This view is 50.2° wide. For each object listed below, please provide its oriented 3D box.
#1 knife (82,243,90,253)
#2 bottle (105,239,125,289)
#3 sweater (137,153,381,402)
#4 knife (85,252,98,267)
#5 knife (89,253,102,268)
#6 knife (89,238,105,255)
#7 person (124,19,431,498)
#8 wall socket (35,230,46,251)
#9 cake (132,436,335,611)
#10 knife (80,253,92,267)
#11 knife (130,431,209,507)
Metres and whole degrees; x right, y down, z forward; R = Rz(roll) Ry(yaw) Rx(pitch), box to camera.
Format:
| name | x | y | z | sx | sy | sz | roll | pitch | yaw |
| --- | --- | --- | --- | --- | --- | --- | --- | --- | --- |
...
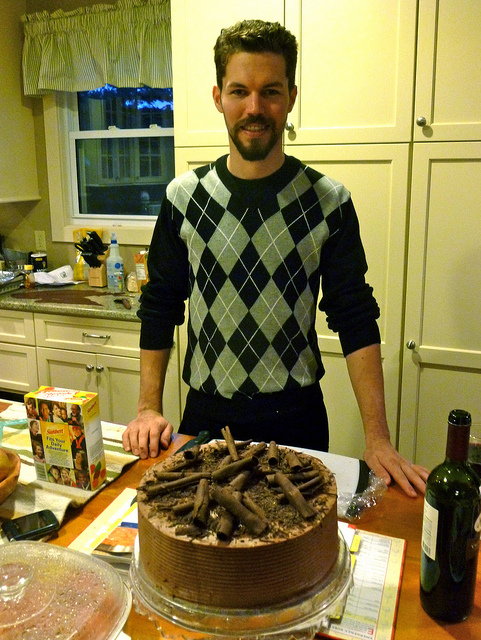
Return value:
| name | x | y | z | sx | sy | sz | roll | pitch | yaw |
| --- | --- | --- | --- | --- | --- | --- | --- | --- | --- |
| knife | -0.944 | -0.446 | 3.146 | 0.039 | 0.054 | 0.024 | -2 | 10 | -2 |
| bottle | -0.782 | -0.357 | 3.200 | 0.113 | 0.292 | 0.264 | -4 | 10 | -12 |
| sweater | 0.059 | -0.113 | 1.423 | 0.686 | 0.635 | 0.264 | 4 | 16 | 11 |
| knife | -0.912 | -0.381 | 3.178 | 0.019 | 0.082 | 0.077 | -41 | 60 | -11 |
| knife | -0.894 | -0.378 | 3.185 | 0.031 | 0.080 | 0.061 | -33 | 11 | 16 |
| knife | -0.881 | -0.455 | 3.148 | 0.039 | 0.149 | 0.033 | -43 | 42 | -7 |
| person | 0.031 | -0.145 | 1.238 | 0.793 | 1.095 | 0.454 | 1 | 10 | 19 |
| wall socket | -1.395 | -0.559 | 3.586 | 0.100 | 0.144 | 0.024 | 4 | 11 | 30 |
| cake | -0.004 | 0.257 | 0.734 | 0.263 | 0.118 | 0.361 | 1 | 2 | 15 |
| knife | -0.970 | -0.384 | 3.238 | 0.019 | 0.111 | 0.020 | -41 | 17 | -2 |
| knife | -0.138 | 0.271 | 1.073 | 0.045 | 0.038 | 0.318 | 6 | 21 | 31 |
